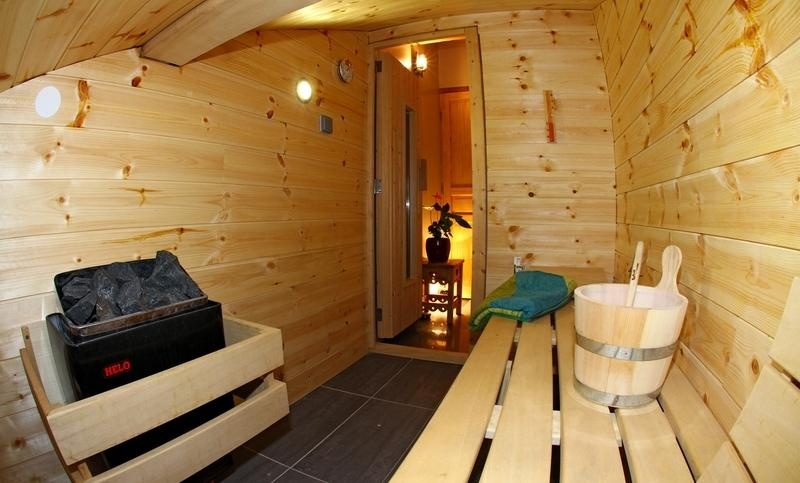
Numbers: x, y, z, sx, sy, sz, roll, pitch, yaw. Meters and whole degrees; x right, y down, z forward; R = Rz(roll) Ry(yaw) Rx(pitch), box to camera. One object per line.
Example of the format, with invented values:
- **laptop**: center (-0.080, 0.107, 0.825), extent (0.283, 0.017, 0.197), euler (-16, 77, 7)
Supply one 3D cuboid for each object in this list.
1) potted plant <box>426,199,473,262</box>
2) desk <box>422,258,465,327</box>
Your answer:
- **potted plant**: center (0.514, -0.111, 4.951), extent (0.392, 0.583, 0.707), euler (2, 8, 13)
- **desk**: center (0.447, 0.487, 4.819), extent (0.636, 0.632, 0.601), euler (0, 2, 20)
